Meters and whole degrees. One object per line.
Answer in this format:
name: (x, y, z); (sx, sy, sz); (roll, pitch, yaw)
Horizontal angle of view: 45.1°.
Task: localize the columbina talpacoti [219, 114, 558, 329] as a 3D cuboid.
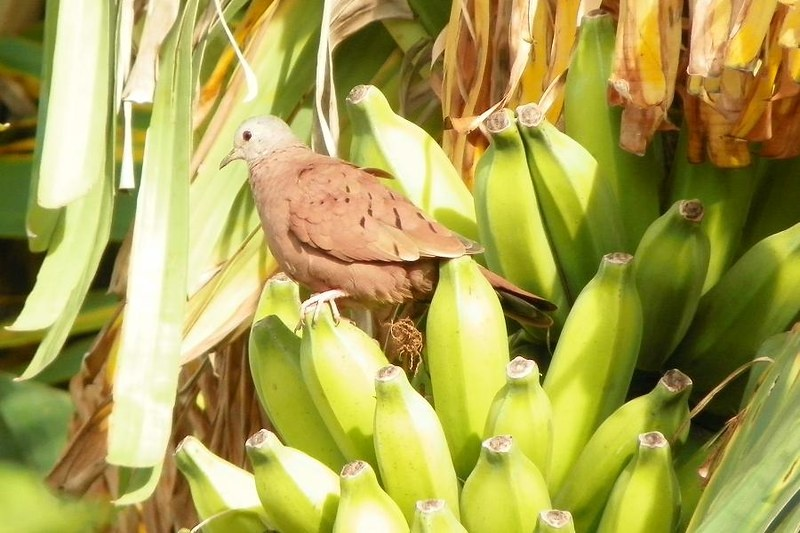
columbina talpacoti: (-0.056, -0.133, 3.071); (0.985, 0.660, 0.346); (2, -10, -2)
